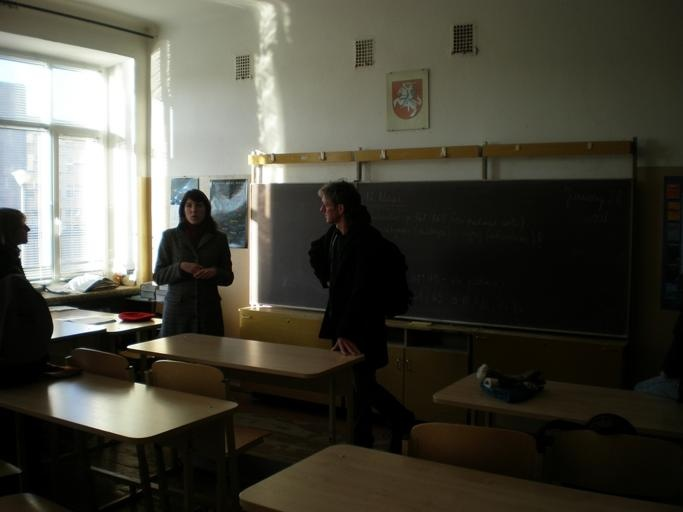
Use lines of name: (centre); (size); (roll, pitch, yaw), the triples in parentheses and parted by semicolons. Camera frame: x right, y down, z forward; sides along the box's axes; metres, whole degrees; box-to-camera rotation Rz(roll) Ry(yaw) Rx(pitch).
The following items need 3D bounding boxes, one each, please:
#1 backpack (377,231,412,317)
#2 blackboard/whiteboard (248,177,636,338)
backpack: (0.354, 0.147, 3.778); (0.326, 0.455, 0.167); (0, 3, 44)
blackboard/whiteboard: (0.686, -0.032, 4.901); (3.270, 1.254, 0.051); (3, 18, 21)
